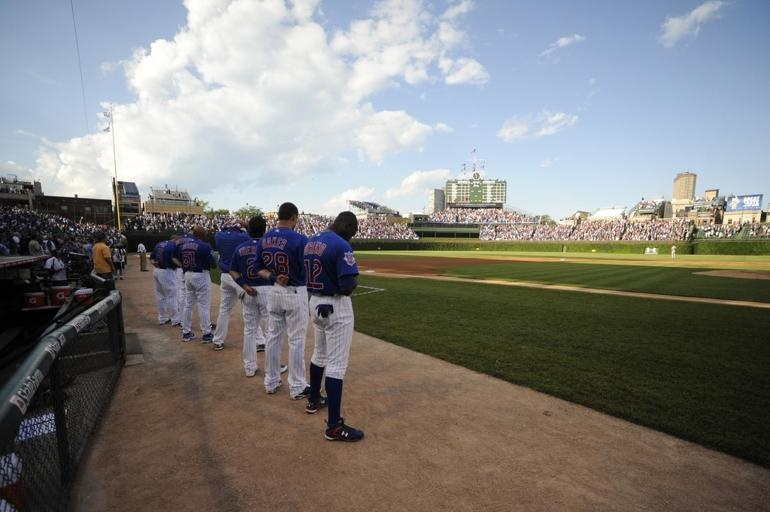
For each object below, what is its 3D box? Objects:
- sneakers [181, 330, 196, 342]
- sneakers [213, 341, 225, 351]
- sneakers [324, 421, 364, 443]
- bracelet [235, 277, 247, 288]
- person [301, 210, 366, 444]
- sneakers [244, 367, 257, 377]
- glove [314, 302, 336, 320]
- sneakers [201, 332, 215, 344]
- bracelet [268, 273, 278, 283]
[{"bbox_3d":[-3.818,1.568,8.370,0.127,0.192,0.285,5,24,0],"label":"sneakers"},{"bbox_3d":[-3.057,1.654,7.824,0.099,0.116,0.262,9,-4,-10],"label":"sneakers"},{"bbox_3d":[-0.491,2.230,5.383,0.510,0.214,0.202,0,0,1],"label":"sneakers"},{"bbox_3d":[-2.234,0.404,6.616,0.155,0.136,0.156,7,7,35],"label":"bracelet"},{"bbox_3d":[-0.689,0.846,5.529,0.708,2.850,1.085,-3,9,-17],"label":"person"},{"bbox_3d":[-2.123,1.841,6.762,0.091,0.091,0.224,3,6,2],"label":"sneakers"},{"bbox_3d":[-0.756,0.707,5.486,0.187,0.213,0.205,5,-13,14],"label":"glove"},{"bbox_3d":[-3.402,1.573,8.222,0.125,0.131,0.313,2,5,6],"label":"sneakers"},{"bbox_3d":[-1.607,0.317,6.112,0.129,0.111,0.125,8,16,0],"label":"bracelet"}]
